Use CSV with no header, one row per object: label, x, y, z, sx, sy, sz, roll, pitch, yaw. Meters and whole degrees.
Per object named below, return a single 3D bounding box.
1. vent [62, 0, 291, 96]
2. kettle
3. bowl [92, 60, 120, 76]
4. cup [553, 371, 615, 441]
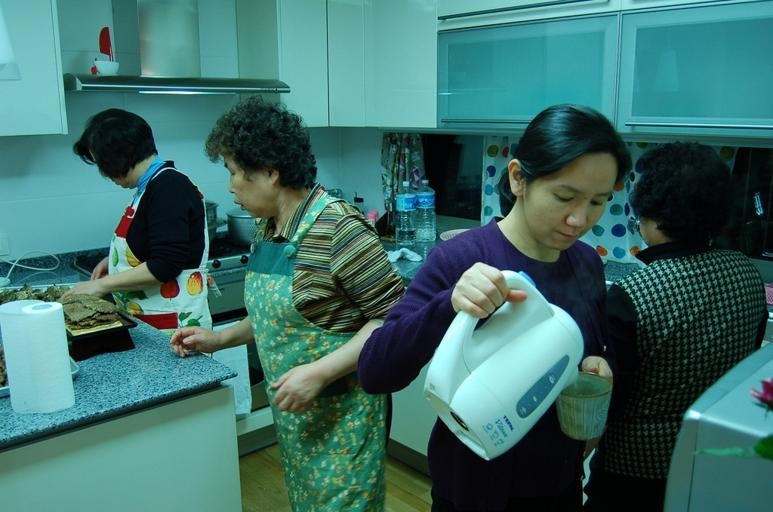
vent,-1.071,-0.983,3.238,1.098,0.280,0.285,-9,13,-29
kettle,0.264,0.231,1.381,0.351,0.396,0.149,-7,12,-25
bowl,-1.417,-0.928,3.150,0.110,0.064,0.109,1,13,0
cup,0.456,0.337,1.468,0.135,0.133,0.150,-2,6,8
